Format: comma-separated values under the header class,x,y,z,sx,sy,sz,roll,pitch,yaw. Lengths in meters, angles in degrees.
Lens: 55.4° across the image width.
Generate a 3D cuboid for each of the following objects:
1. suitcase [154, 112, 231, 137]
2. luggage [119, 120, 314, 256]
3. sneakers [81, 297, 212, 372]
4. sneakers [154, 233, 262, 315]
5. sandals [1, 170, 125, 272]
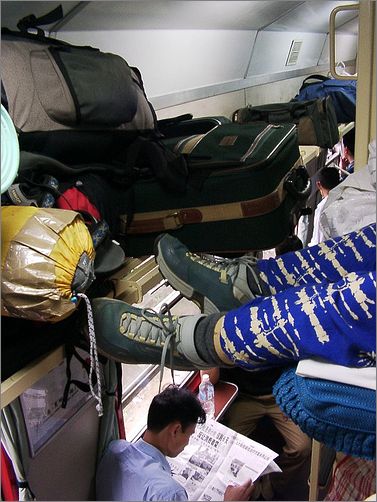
class,x,y,z,sx,sy,sz,roll,pitch,yaw
suitcase,0.008,-0.539,1.543,0.267,0.080,0.188,1,27,29
luggage,0.091,-0.226,1.234,0.600,0.302,0.483,2,33,30
sneakers,-0.072,0.185,0.791,0.305,0.116,0.107,14,51,7
sneakers,0.059,0.049,0.988,0.300,0.136,0.101,31,56,-9
sandals,-0.250,-0.046,0.820,0.265,0.138,0.161,27,25,-15
